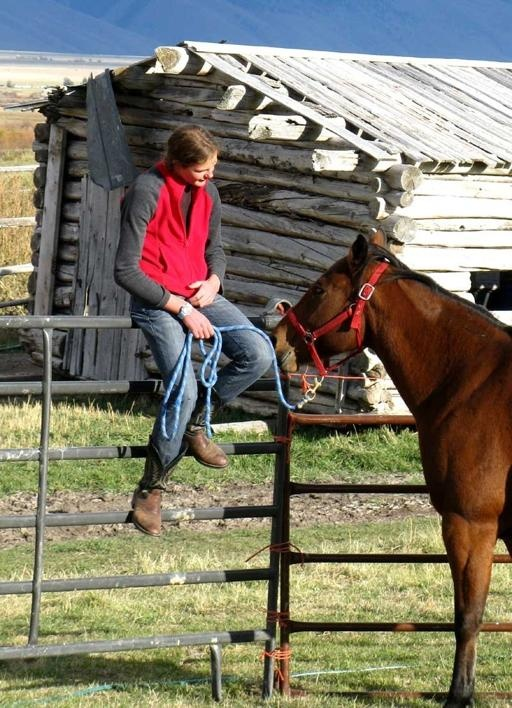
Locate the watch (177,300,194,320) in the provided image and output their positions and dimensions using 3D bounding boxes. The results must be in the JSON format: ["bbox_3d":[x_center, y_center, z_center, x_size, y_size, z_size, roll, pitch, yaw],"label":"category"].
[{"bbox_3d":[-0.311,-0.185,3.957,0.042,0.061,0.069,49,47,6],"label":"watch"}]

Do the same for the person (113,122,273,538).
[{"bbox_3d":[-0.324,-0.102,4.106,0.712,1.765,0.598,6,11,-31],"label":"person"}]
